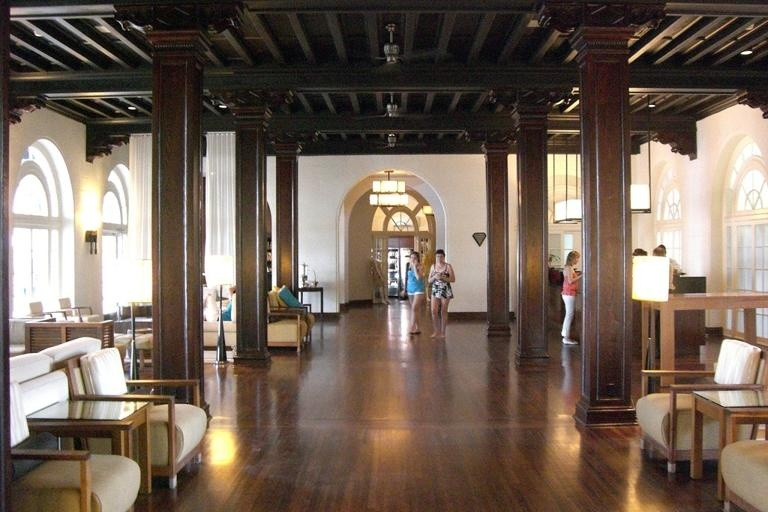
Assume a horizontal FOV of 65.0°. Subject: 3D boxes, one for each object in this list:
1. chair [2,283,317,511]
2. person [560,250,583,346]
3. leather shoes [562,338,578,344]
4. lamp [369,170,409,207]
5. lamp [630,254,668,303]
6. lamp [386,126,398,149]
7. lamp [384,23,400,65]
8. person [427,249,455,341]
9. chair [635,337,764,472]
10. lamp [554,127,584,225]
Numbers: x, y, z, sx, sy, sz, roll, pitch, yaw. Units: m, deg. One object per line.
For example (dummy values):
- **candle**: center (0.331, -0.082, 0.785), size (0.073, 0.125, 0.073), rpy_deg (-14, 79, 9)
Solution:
- **chair**: center (-2.774, 1.650, 6.352), size (1.736, 1.489, 1.393), rpy_deg (-1, 0, 1)
- **person**: center (3.645, 0.798, 11.803), size (0.325, 1.803, 0.736), rpy_deg (2, 9, 17)
- **leather shoes**: center (3.616, 1.668, 11.741), size (0.294, 0.126, 0.113), rpy_deg (-1, 1, -5)
- **lamp**: center (0.106, -1.794, 15.982), size (1.104, 0.967, 1.074), rpy_deg (-8, 11, -40)
- **lamp**: center (3.252, 0.278, 7.391), size (0.505, 0.617, 0.523), rpy_deg (1, -5, 0)
- **lamp**: center (0.163, -2.621, 13.183), size (0.320, 0.342, 0.598), rpy_deg (2, 29, 0)
- **lamp**: center (0.095, -2.971, 8.430), size (0.323, 0.474, 0.337), rpy_deg (-1, 8, 5)
- **person**: center (1.172, 0.770, 12.496), size (0.438, 1.932, 1.240), rpy_deg (0, 9, 5)
- **chair**: center (3.550, 1.661, 6.978), size (1.330, 1.493, 1.206), rpy_deg (0, -5, -1)
- **lamp**: center (4.247, -1.697, 14.248), size (0.731, 2.265, 5.180), rpy_deg (2, 10, 16)
